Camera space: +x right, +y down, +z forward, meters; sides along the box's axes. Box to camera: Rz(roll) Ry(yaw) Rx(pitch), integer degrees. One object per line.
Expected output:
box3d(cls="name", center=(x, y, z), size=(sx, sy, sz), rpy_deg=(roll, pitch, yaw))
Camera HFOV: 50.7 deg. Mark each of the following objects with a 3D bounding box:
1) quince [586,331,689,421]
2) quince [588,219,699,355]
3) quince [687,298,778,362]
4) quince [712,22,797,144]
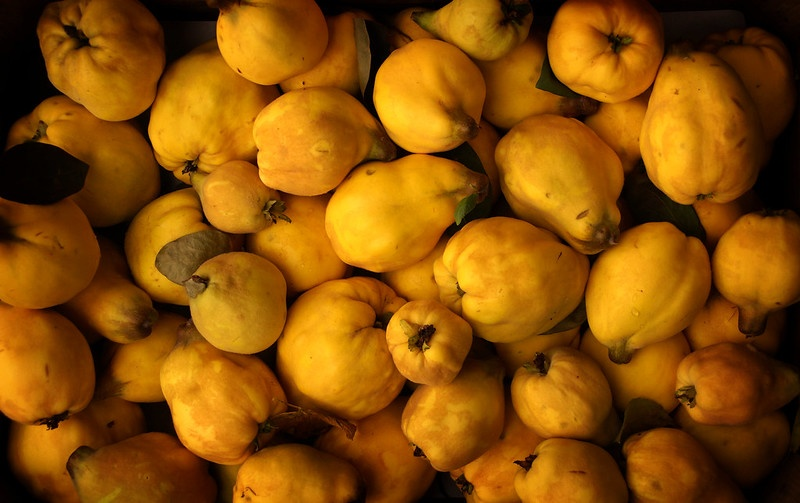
box3d(cls="quince", center=(0.732, 0.349, 2.637), size=(0.241, 0.253, 0.289), rpy_deg=(-44, -30, 27))
box3d(cls="quince", center=(0.726, 0.110, 2.505), size=(0.289, 0.404, 0.279), rpy_deg=(26, 3, 19))
box3d(cls="quince", center=(1.018, 0.213, 2.648), size=(0.227, 0.194, 0.206), rpy_deg=(-25, 13, -16))
box3d(cls="quince", center=(1.083, -0.536, 2.706), size=(0.281, 0.376, 0.306), rpy_deg=(-11, 29, 8))
